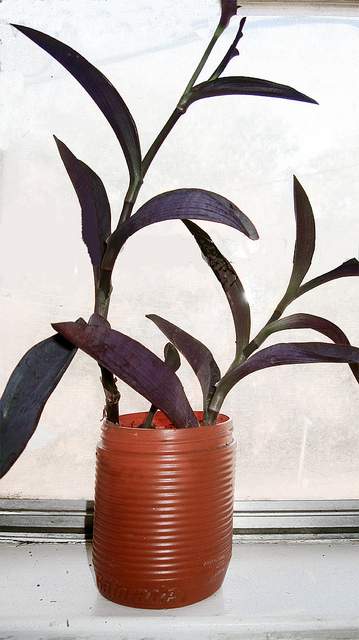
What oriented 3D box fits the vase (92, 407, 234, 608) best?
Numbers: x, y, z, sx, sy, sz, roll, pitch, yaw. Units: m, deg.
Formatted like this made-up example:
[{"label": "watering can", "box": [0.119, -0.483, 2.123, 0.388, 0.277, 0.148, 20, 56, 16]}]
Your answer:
[{"label": "vase", "box": [-0.019, 0.240, 0.889, 0.175, 0.248, 0.147, 2, 25, -2]}]
